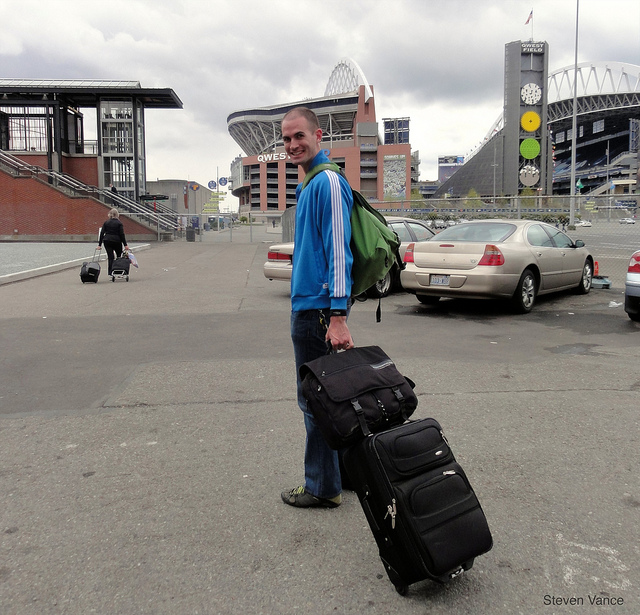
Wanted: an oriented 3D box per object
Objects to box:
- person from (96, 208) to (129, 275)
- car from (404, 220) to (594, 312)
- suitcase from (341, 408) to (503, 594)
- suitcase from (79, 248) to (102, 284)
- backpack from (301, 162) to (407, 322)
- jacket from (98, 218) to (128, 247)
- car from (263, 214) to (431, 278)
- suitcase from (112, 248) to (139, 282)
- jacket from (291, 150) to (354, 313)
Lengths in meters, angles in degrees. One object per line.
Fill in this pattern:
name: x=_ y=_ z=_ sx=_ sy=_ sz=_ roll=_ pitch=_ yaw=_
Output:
person: x=-5.474 y=-1.663 z=15.787 sx=0.767 sy=2.047 sz=0.534 roll=5 pitch=-27 yaw=-24
car: x=3.120 y=-0.748 z=10.262 sx=3.408 sy=1.508 sz=1.584 roll=-7 pitch=11 yaw=-39
suitcase: x=0.460 y=0.870 z=2.588 sx=0.422 sy=0.727 sz=0.395 roll=-5 pitch=-25 yaw=-29
suitcase: x=-5.578 y=-0.941 z=14.542 sx=0.431 sy=0.676 sz=0.794 roll=-3 pitch=9 yaw=-22
backpack: x=0.201 y=-0.318 z=3.192 sx=0.441 sy=0.881 sz=0.599 roll=-5 pitch=9 yaw=-1
jacket: x=-5.489 y=-2.024 z=15.763 sx=0.616 sy=0.685 sz=0.665 roll=-3 pitch=9 yaw=-22
car: x=0.654 y=-1.379 z=12.183 sx=3.441 sy=1.252 sz=1.619 roll=-14 pitch=14 yaw=-35
suitcase: x=-4.949 y=-1.148 z=15.278 sx=0.360 sy=0.591 sz=0.890 roll=2 pitch=24 yaw=-5
jacket: x=-0.021 y=-0.363 z=3.116 sx=0.257 sy=0.873 sz=0.560 roll=6 pitch=-13 yaw=-24
